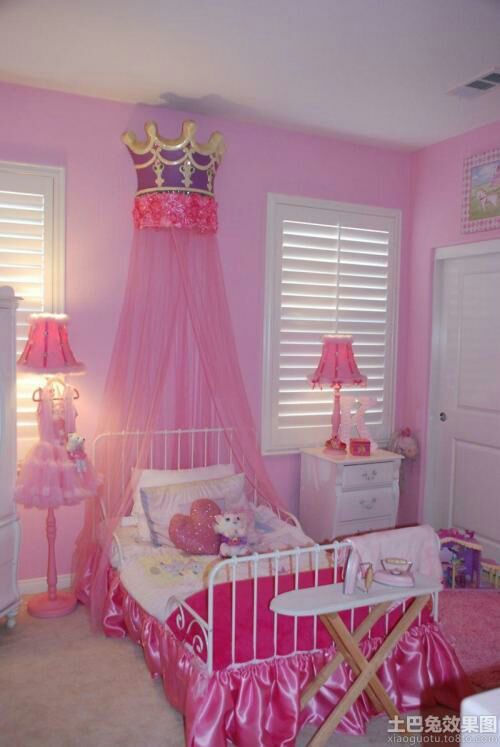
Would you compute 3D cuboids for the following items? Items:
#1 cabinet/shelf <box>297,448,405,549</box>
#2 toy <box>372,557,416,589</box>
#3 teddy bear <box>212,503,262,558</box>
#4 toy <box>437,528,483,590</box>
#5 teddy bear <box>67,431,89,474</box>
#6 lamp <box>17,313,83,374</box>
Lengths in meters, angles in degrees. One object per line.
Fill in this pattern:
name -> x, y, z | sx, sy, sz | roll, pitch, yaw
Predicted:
cabinet/shelf -> 0.628, 0.712, 3.953 | 0.629, 0.878, 0.565 | -2, 2, -26
toy -> 0.500, 0.685, 1.989 | 0.094, 0.050, 0.084 | 2, 1, -6
teddy bear -> -0.080, 0.752, 2.712 | 0.174, 0.237, 0.162 | -2, -3, -7
toy -> 1.292, 1.145, 3.537 | 0.265, 0.234, 0.214 | 2, 1, 12
teddy bear -> -0.887, 0.405, 2.964 | 0.110, 0.206, 0.091 | 1, 1, -19
lamp -> -1.068, -0.152, 2.996 | 0.298, 0.321, 0.328 | -1, 1, -13
